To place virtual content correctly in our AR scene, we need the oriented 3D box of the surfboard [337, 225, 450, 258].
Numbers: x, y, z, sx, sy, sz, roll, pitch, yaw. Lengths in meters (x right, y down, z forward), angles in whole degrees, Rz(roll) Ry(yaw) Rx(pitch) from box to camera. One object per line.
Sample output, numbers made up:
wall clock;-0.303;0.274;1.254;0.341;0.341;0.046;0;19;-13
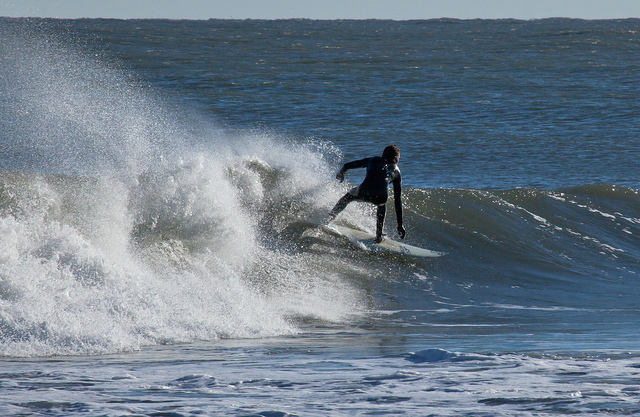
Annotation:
surfboard;1.938;0.994;37.361;3.169;0.214;0.370;11;52;-10
